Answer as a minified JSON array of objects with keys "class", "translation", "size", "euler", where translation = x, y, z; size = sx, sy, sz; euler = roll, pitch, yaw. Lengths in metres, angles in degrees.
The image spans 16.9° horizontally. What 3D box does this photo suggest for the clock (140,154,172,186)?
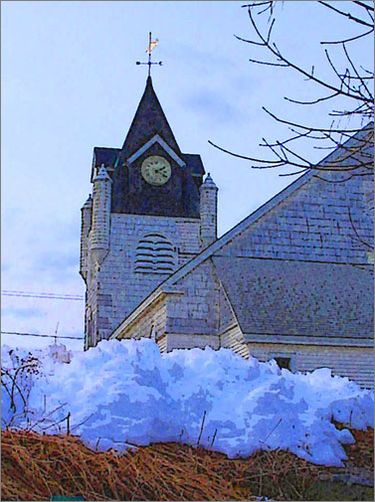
[{"class":"clock","translation":[-1.094,-2.556,42.209],"size":[0.750,0.982,0.115],"euler":[7,-24,-13]}]
